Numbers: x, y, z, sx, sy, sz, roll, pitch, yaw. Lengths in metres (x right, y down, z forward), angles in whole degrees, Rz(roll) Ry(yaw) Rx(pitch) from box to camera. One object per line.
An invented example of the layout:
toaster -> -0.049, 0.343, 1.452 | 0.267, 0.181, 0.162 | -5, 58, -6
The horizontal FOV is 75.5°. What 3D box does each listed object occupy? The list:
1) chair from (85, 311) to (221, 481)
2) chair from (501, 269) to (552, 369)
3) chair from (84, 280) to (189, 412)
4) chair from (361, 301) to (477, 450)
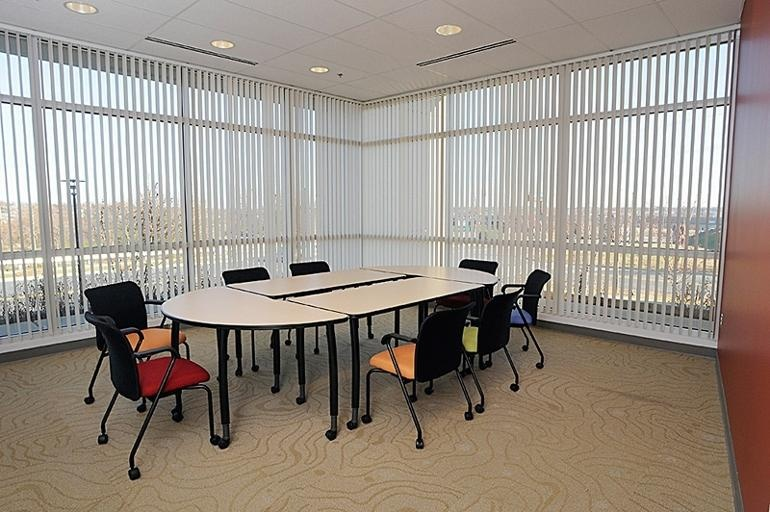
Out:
chair -> -2.363, 1.310, 5.113 | 0.979, 1.268, 1.031 | 7, 9, 42
chair -> 1.766, 0.846, 6.901 | 0.939, 1.168, 0.704 | -1, 10, -1
chair -> -2.892, 0.946, 5.744 | 1.091, 1.163, 1.042 | -9, 10, -39
chair -> 0.344, 1.159, 5.431 | 1.256, 1.243, 1.186 | 2, 4, 19
